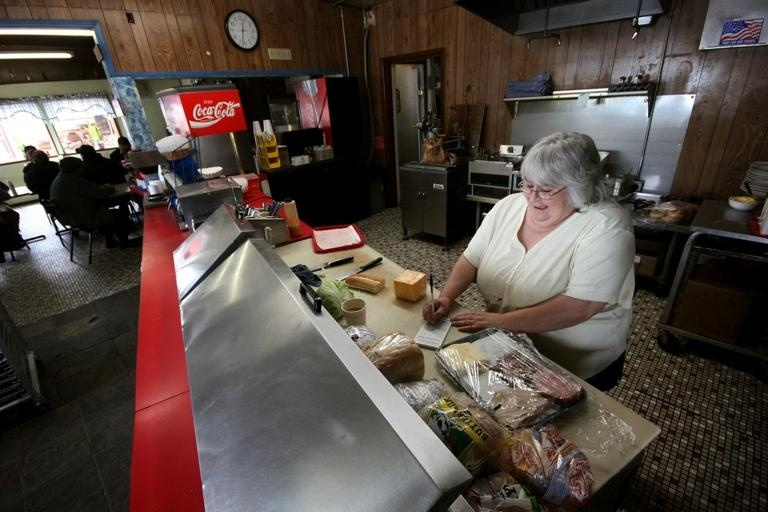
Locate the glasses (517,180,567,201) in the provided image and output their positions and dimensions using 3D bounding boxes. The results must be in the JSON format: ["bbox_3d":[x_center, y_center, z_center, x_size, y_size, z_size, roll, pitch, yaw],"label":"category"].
[{"bbox_3d":[1.167,-0.476,3.334,0.289,0.122,0.066,8,27,26],"label":"glasses"}]

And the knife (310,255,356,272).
[{"bbox_3d":[-0.417,0.063,3.789,0.311,0.028,0.046,-16,42,-18],"label":"knife"}]

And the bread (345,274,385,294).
[{"bbox_3d":[-0.148,0.207,3.523,0.204,0.063,0.151,15,20,32],"label":"bread"}]

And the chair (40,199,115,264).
[{"bbox_3d":[-4.412,-0.343,6.619,0.485,0.854,0.596,39,40,27],"label":"chair"}]

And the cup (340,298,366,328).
[{"bbox_3d":[-0.208,0.395,3.204,0.182,0.145,0.162,-15,31,-18],"label":"cup"}]

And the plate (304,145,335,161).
[{"bbox_3d":[-0.894,-1.496,6.642,0.258,0.166,0.258,-17,31,-32],"label":"plate"}]

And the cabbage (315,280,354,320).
[{"bbox_3d":[-0.372,0.297,3.340,0.262,0.098,0.265,39,49,12],"label":"cabbage"}]

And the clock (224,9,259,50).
[{"bbox_3d":[-1.893,-2.997,6.019,0.049,0.478,0.480,9,20,39],"label":"clock"}]

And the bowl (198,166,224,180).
[{"bbox_3d":[-1.904,-0.911,5.008,0.247,0.111,0.255,-4,13,1],"label":"bowl"}]

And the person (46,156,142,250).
[{"bbox_3d":[-4.081,-0.704,6.393,0.885,1.377,0.546,-22,30,-34],"label":"person"}]

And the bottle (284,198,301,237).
[{"bbox_3d":[-0.834,-0.352,4.158,0.121,0.315,0.234,-8,25,-7],"label":"bottle"}]

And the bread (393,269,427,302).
[{"bbox_3d":[0.198,0.221,3.506,0.216,0.224,0.213,10,13,-3],"label":"bread"}]
